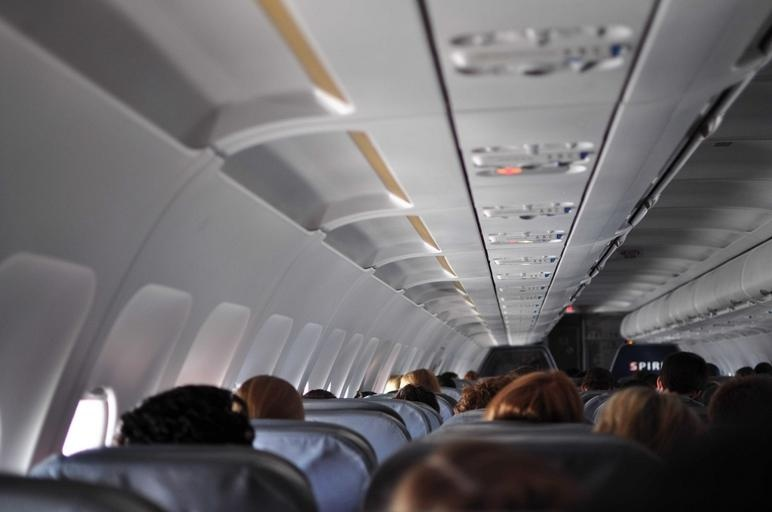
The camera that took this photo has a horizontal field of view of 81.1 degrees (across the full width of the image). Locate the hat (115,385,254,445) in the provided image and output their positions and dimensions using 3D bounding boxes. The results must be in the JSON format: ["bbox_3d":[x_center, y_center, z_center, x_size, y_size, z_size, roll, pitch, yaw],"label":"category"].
[{"bbox_3d":[-0.750,0.578,1.653,0.285,0.133,0.345,-9,-19,29],"label":"hat"}]
